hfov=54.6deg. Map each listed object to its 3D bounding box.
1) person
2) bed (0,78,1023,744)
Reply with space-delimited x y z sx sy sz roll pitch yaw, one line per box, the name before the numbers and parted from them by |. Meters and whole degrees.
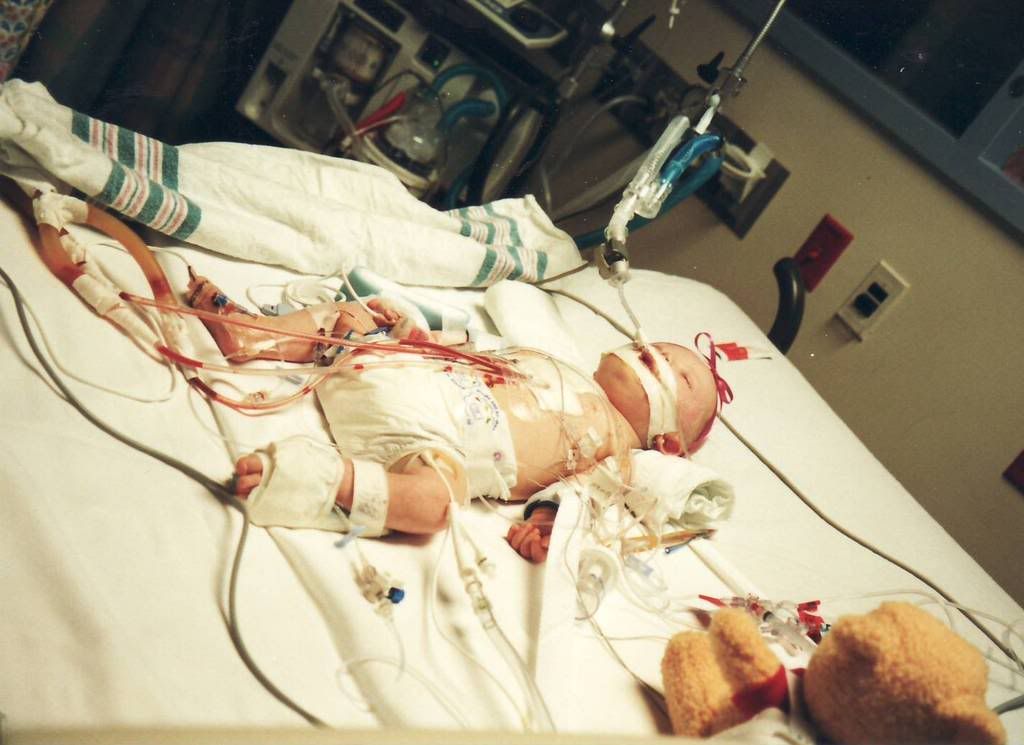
person | -0.061 0.175 1.789 0.727 0.263 0.506 7 21 -25
bed | -0.026 0.249 1.579 1.112 0.292 1.224 1 50 -31
